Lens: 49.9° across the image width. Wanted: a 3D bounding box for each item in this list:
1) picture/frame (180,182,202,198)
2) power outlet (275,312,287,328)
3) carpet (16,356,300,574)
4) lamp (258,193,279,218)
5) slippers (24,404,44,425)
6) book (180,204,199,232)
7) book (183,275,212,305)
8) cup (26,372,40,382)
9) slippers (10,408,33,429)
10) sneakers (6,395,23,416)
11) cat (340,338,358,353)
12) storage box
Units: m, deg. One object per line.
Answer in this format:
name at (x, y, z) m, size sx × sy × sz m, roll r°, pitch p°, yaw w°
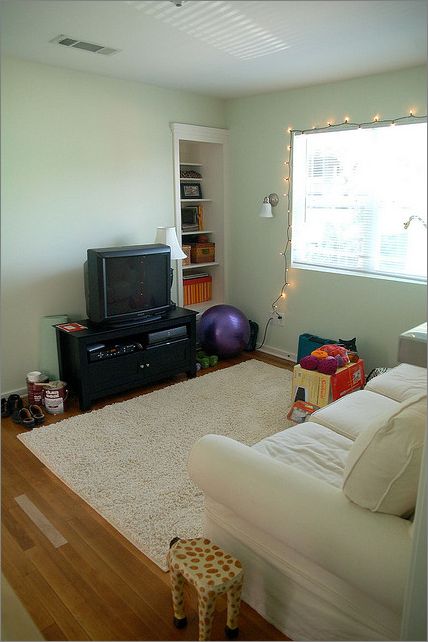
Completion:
picture/frame at (-0.245, -1.393, 4.866) m, size 0.108 × 0.169 × 0.391 m, roll 5°, pitch 14°, yaw 26°
power outlet at (0.667, -0.026, 4.569) m, size 0.017 × 0.127 × 0.131 m, roll -13°, pitch 22°, yaw -35°
carpet at (-0.426, 0.867, 2.815) m, size 0.722 × 0.013 × 1.143 m, roll 21°, pitch 26°, yaw 38°
lamp at (0.530, -1.112, 4.395) m, size 0.170 × 0.235 × 0.233 m, roll 1°, pitch 12°, yaw 7°
slippers at (-1.296, 0.650, 3.300) m, size 0.073 × 0.078 × 0.209 m, roll -10°, pitch 22°, yaw -34°
book at (-0.279, -1.099, 4.880) m, size 0.116 × 0.253 × 0.258 m, roll 8°, pitch 15°, yaw 37°
book at (-0.198, -0.343, 4.936) m, size 0.273 × 0.207 × 0.157 m, roll -13°, pitch 19°, yaw -43°
cup at (-1.378, 0.417, 3.479) m, size 0.065 × 0.044 × 0.077 m, roll 7°, pitch 10°, yaw 28°
slippers at (-1.335, 0.670, 3.208) m, size 0.095 × 0.076 × 0.188 m, roll -9°, pitch 22°, yaw -38°
sneakers at (-1.484, 0.608, 3.432) m, size 0.085 × 0.091 × 0.234 m, roll -2°, pitch 23°, yaw -25°
cat at (1.120, 0.196, 3.832) m, size 0.147 × 0.120 × 0.356 m, roll 3°, pitch 13°, yaw 16°
storage box at (0.814, 0.341, 3.347) m, size 0.315 × 0.334 × 0.476 m, roll 15°, pitch 28°, yaw 42°
